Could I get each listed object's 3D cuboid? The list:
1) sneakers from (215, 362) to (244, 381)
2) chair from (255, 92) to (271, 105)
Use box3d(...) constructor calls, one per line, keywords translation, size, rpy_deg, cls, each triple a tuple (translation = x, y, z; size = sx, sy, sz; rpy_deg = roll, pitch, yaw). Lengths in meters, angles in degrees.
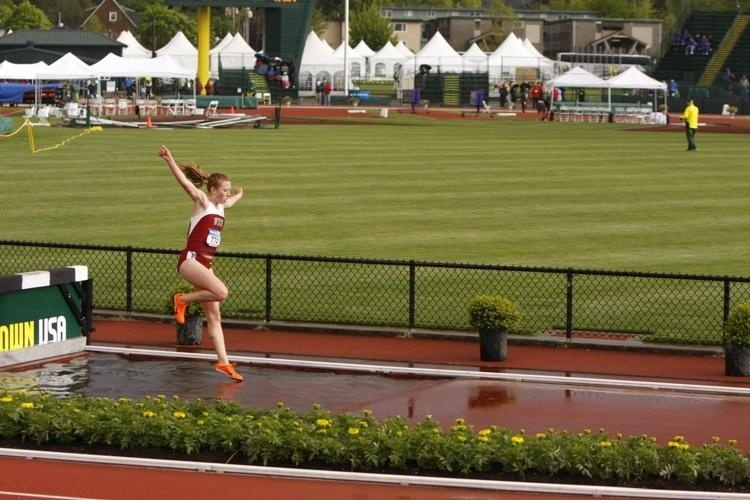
box3d(translation=(-2.433, 2.058, 24.047), size=(0.490, 0.219, 0.232), rpy_deg=(32, 13, -12), cls="sneakers")
box3d(translation=(-6.267, -8.633, 80.429), size=(0.828, 0.851, 2.268), rpy_deg=(0, 15, -5), cls="chair")
